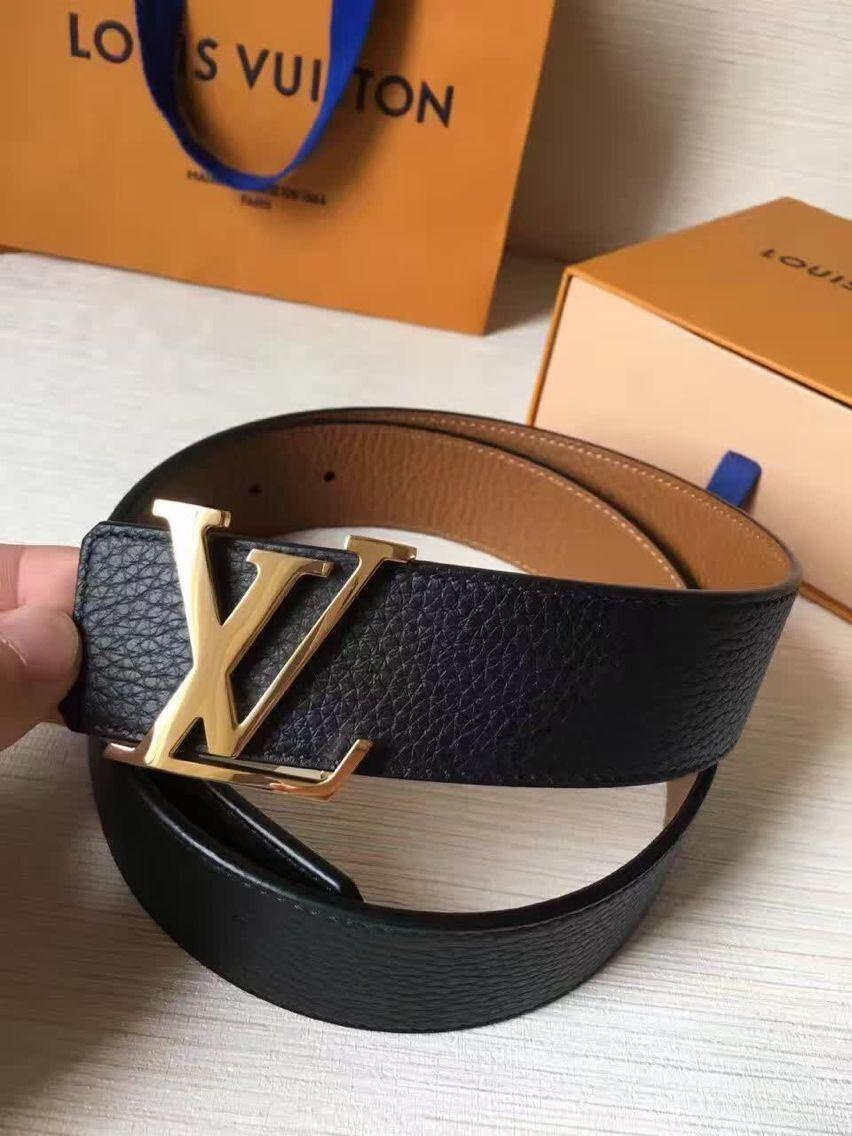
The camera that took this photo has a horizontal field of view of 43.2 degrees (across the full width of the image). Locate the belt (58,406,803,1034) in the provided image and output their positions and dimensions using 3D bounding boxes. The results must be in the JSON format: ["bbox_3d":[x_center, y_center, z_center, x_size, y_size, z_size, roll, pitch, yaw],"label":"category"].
[{"bbox_3d":[0.077,0.133,0.776,0.566,0.237,0.399,-11,47,-20],"label":"belt"}]
